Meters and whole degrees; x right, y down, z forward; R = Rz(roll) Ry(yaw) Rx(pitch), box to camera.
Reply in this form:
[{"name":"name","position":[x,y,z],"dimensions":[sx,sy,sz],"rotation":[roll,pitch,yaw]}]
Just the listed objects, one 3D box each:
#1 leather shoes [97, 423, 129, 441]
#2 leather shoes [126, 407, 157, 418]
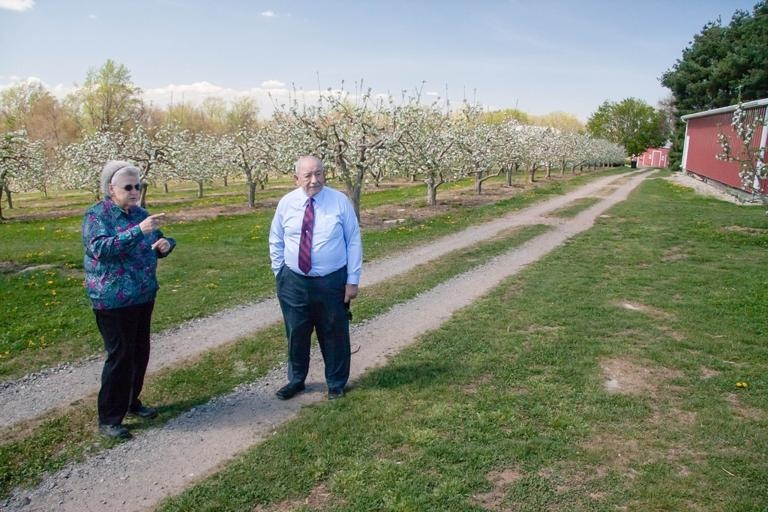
[{"name":"leather shoes","position":[-4.367,2.793,7.858],"dimensions":[0.542,0.238,0.195],"rotation":[1,1,9]},{"name":"leather shoes","position":[-4.102,2.627,8.358],"dimensions":[0.514,0.219,0.184],"rotation":[-1,-2,-1]}]
